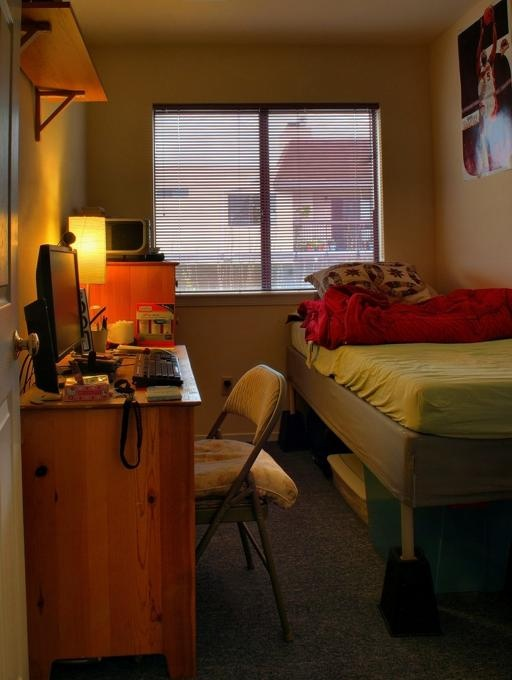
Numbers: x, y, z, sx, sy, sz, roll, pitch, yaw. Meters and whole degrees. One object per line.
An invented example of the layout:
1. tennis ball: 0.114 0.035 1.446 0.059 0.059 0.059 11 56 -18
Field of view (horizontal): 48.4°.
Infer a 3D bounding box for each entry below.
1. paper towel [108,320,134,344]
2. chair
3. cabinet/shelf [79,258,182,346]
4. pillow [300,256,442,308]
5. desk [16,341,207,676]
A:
1. paper towel: -0.601 -0.032 2.549 0.098 0.091 0.101 3 0 -16
2. chair: -0.160 0.467 1.800 0.524 0.738 0.456 -2 5 -8
3. cabinet/shelf: -0.592 -0.175 2.837 0.430 0.440 0.168 1 19 2
4. pillow: 0.710 -0.347 3.377 0.498 0.167 0.305 -2 30 -23
5. desk: -0.369 0.467 1.831 0.522 0.793 0.905 -1 4 -7
